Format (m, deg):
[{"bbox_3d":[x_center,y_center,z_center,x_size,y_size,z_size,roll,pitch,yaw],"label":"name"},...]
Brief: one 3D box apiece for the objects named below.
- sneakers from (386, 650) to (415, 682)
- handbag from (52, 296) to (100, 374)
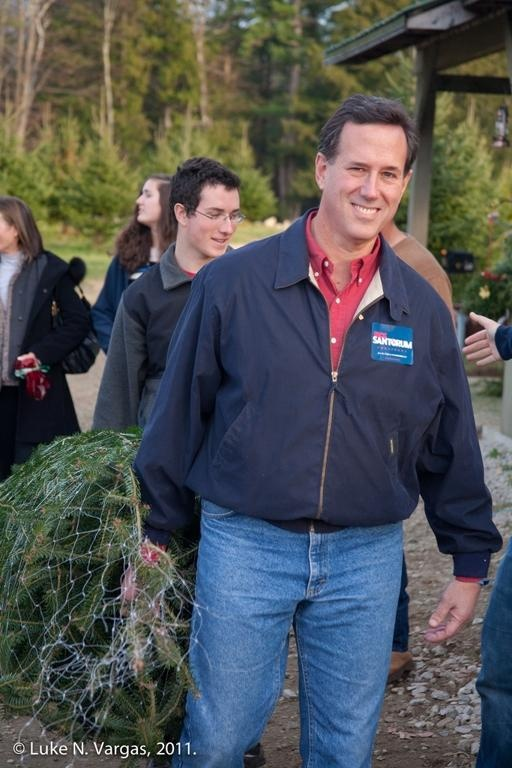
[{"bbox_3d":[0.584,1.123,3.471,0.071,0.093,0.216,0,-1,34],"label":"sneakers"},{"bbox_3d":[-0.957,-0.270,4.531,0.182,0.247,0.347,6,-15,17],"label":"handbag"}]
